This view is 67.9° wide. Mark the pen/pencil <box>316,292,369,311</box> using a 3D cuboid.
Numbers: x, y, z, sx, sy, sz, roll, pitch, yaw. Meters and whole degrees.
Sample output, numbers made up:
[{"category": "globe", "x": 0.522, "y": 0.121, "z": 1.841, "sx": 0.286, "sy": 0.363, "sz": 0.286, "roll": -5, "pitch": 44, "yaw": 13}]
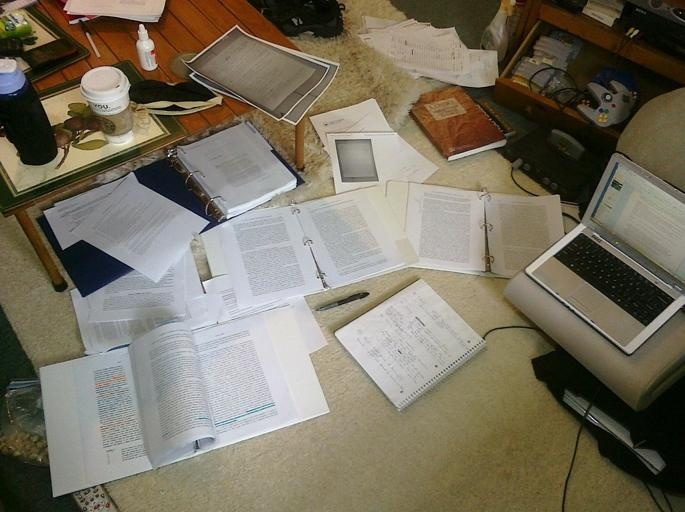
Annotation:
[{"category": "pen/pencil", "x": -0.003, "y": 0.142, "z": 1.579, "sx": 0.133, "sy": 0.015, "sz": 0.018, "roll": -18, "pitch": 75, "yaw": -15}]
